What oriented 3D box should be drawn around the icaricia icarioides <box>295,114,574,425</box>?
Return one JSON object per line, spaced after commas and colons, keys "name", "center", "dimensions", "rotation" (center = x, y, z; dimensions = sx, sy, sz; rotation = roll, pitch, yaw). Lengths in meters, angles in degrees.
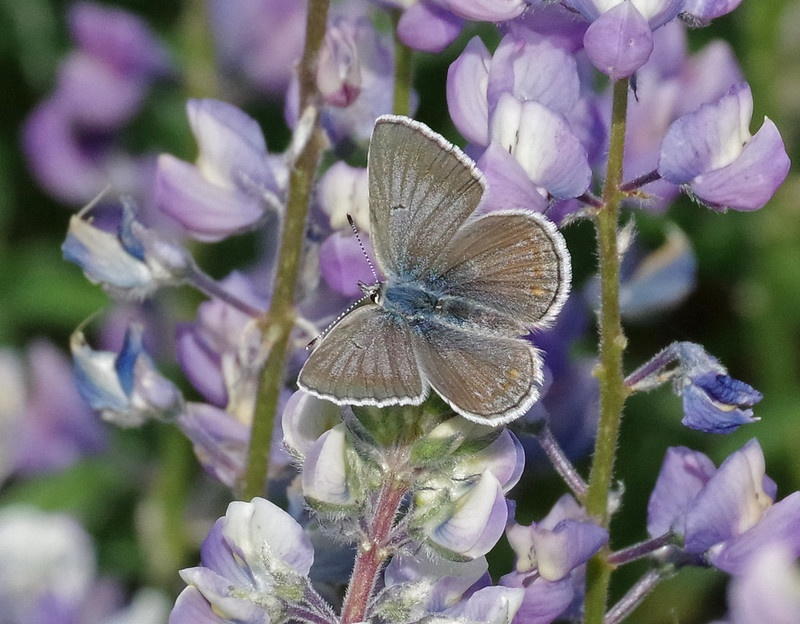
{"name": "icaricia icarioides", "center": [0.073, -0.006, 1.794], "dimensions": [0.370, 0.194, 0.475], "rotation": [18, 78, 6]}
